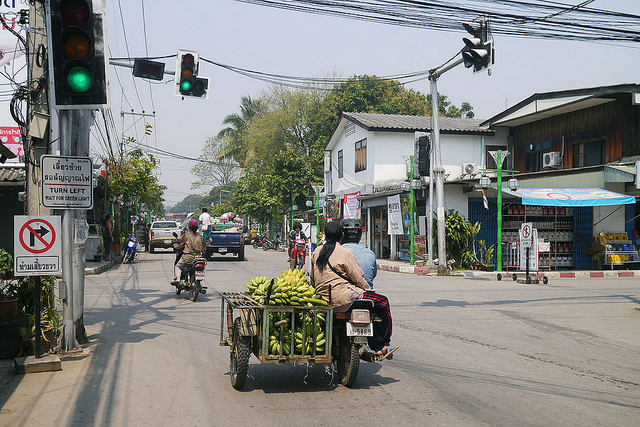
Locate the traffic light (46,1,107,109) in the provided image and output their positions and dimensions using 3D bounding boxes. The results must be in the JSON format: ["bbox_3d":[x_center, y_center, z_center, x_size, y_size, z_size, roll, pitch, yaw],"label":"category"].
[{"bbox_3d":[-4.622,-3.012,12.974,1.088,2.032,0.443,-1,7,-14],"label":"traffic light"}]

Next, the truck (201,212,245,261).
[{"bbox_3d":[-4.693,1.194,33.526,2.197,2.357,4.563,1,1,-7],"label":"truck"}]

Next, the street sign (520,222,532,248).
[{"bbox_3d":[6.989,0.736,23.291,0.388,0.839,0.333,5,8,30],"label":"street sign"}]

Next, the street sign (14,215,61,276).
[{"bbox_3d":[-5.492,0.618,13.206,1.011,1.566,0.067,0,1,-17],"label":"street sign"}]

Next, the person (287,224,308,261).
[{"bbox_3d":[-0.834,0.943,26.530,0.776,1.006,1.441,6,-4,-12],"label":"person"}]

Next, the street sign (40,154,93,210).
[{"bbox_3d":[-5.109,-0.624,13.670,1.293,1.573,0.071,0,-2,-26],"label":"street sign"}]

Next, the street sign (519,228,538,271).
[{"bbox_3d":[7.104,1.225,23.780,0.683,1.353,0.782,-7,-3,-1],"label":"street sign"}]

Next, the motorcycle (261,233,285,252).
[{"bbox_3d":[-3.274,2.082,46.427,1.819,1.297,0.806,0,2,-7],"label":"motorcycle"}]

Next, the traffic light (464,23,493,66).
[{"bbox_3d":[4.489,-4.703,19.221,0.703,1.095,0.361,2,7,13],"label":"traffic light"}]

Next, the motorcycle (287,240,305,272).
[{"bbox_3d":[-0.851,1.532,25.130,0.491,1.054,0.740,0,7,-3],"label":"motorcycle"}]

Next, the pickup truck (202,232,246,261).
[{"bbox_3d":[-4.358,1.422,30.678,1.162,1.103,2.250,1,-1,-8],"label":"pickup truck"}]

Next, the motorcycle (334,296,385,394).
[{"bbox_3d":[0.728,2.276,12.464,0.839,1.684,1.100,3,7,21],"label":"motorcycle"}]

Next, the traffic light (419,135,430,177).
[{"bbox_3d":[3.714,-2.066,24.624,0.346,1.421,0.669,1,7,6],"label":"traffic light"}]
